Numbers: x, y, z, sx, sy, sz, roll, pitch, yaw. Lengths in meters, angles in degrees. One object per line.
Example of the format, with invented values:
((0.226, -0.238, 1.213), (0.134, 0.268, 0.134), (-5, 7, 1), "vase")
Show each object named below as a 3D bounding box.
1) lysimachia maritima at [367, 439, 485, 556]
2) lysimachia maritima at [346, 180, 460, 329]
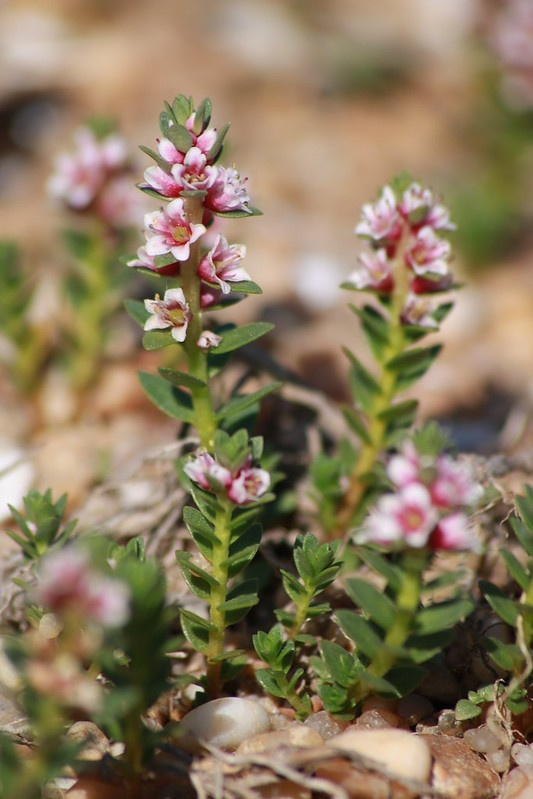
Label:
((0.255, 0.176, 1.358), (0.197, 0.190, 0.240), (0, 9, 1), "lysimachia maritima")
((0.288, -0.308, 1.801), (0.242, 0.321, 0.196), (5, 12, 30), "lysimachia maritima")
